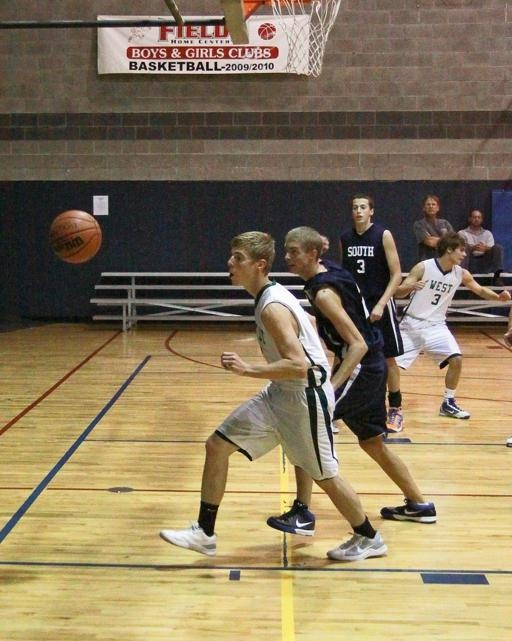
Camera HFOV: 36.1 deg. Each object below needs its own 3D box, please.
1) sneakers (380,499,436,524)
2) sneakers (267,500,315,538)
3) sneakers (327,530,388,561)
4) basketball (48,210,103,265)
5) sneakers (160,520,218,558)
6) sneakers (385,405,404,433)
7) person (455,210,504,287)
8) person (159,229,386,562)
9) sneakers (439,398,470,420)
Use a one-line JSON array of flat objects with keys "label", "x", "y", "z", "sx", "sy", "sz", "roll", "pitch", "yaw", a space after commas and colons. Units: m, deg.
[{"label": "sneakers", "x": 0.693, "y": 0.869, "z": 3.608, "sx": 0.297, "sy": 0.116, "sz": 0.093, "roll": 2, "pitch": -5, "yaw": 11}, {"label": "sneakers", "x": 0.157, "y": 0.829, "z": 3.290, "sx": 0.246, "sy": 0.144, "sz": 0.097, "roll": 10, "pitch": -22, "yaw": 3}, {"label": "sneakers", "x": 0.414, "y": 0.914, "z": 3.199, "sx": 0.273, "sy": 0.104, "sz": 0.095, "roll": -2, "pitch": -8, "yaw": -7}, {"label": "basketball", "x": -1.604, "y": -0.739, "z": 6.897, "sx": 0.354, "sy": 0.453, "sz": 0.348, "roll": 8, "pitch": 11, "yaw": 41}, {"label": "sneakers", "x": -0.256, "y": 0.866, "z": 3.149, "sx": 0.280, "sy": 0.117, "sz": 0.093, "roll": 18, "pitch": -7, "yaw": -12}, {"label": "sneakers", "x": 0.888, "y": 0.642, "z": 5.062, "sx": 0.143, "sy": 0.160, "sz": 0.395, "roll": 0, "pitch": -6, "yaw": 12}, {"label": "person", "x": 2.747, "y": -0.910, "z": 9.816, "sx": 0.560, "sy": 0.939, "sz": 0.593, "roll": 1, "pitch": -6, "yaw": -8}, {"label": "person", "x": 0.071, "y": 0.315, "z": 3.085, "sx": 0.869, "sy": 1.318, "sz": 0.470, "roll": -4, "pitch": 10, "yaw": -27}, {"label": "sneakers", "x": 1.409, "y": 0.609, "z": 5.421, "sx": 0.267, "sy": 0.142, "sz": 0.088, "roll": 2, "pitch": -1, "yaw": 36}]
